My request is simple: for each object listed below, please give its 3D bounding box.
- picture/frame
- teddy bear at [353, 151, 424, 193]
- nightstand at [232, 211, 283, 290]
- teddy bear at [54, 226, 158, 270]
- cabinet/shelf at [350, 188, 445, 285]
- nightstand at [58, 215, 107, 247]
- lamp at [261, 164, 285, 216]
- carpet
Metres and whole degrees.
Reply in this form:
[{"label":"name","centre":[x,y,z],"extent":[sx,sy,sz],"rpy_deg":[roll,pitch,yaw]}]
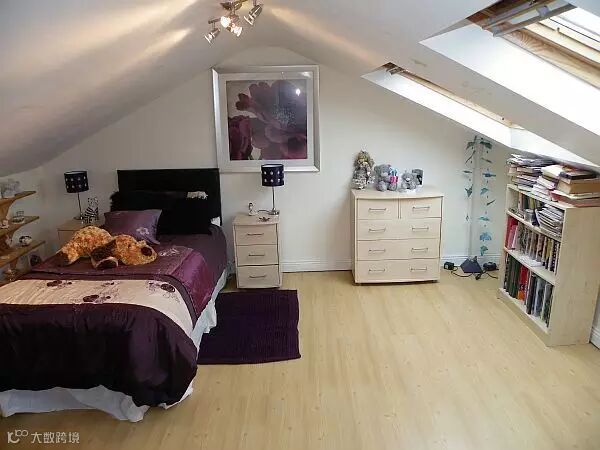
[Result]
[{"label":"picture/frame","centre":[-0.372,-1.225,4.731],"extent":[1.198,1.207,0.052],"rpy_deg":[-1,13,-2]},{"label":"teddy bear","centre":[0.941,-0.577,4.722],"extent":[0.750,0.335,0.423],"rpy_deg":[4,18,2]},{"label":"nightstand","centre":[-0.418,0.271,4.764],"extent":[0.660,1.073,0.703],"rpy_deg":[-1,13,-2]},{"label":"teddy bear","centre":[-1.696,0.210,3.722],"extent":[0.532,0.173,0.456],"rpy_deg":[9,12,-1]},{"label":"cabinet/shelf","centre":[1.132,0.243,4.771],"extent":[0.902,0.982,0.534],"rpy_deg":[-2,-20,20]},{"label":"nightstand","centre":[-2.426,0.140,4.782],"extent":[0.399,0.373,0.400],"rpy_deg":[-1,20,-10]},{"label":"lamp","centre":[-0.295,-0.395,4.742],"extent":[0.252,0.558,0.355],"rpy_deg":[-1,12,-4]},{"label":"carpet","centre":[-0.467,0.884,4.220],"extent":[1.004,0.026,1.131],"rpy_deg":[20,28,37]}]
